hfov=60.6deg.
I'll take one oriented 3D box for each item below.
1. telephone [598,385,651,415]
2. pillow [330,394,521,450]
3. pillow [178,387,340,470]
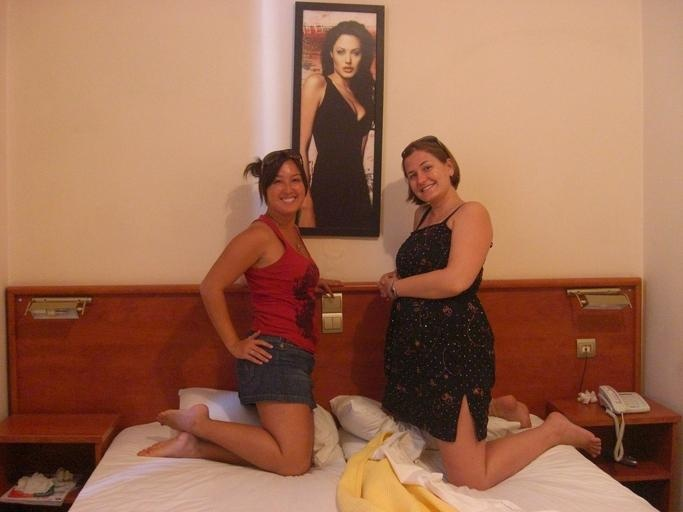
[{"bbox_3d":[1.557,0.782,3.214,0.234,0.099,0.185,-2,11,-12],"label":"telephone"},{"bbox_3d":[0.338,0.834,3.063,0.610,0.194,0.381,11,3,-9],"label":"pillow"},{"bbox_3d":[-0.398,0.861,3.043,0.570,0.179,0.422,8,26,-28],"label":"pillow"}]
